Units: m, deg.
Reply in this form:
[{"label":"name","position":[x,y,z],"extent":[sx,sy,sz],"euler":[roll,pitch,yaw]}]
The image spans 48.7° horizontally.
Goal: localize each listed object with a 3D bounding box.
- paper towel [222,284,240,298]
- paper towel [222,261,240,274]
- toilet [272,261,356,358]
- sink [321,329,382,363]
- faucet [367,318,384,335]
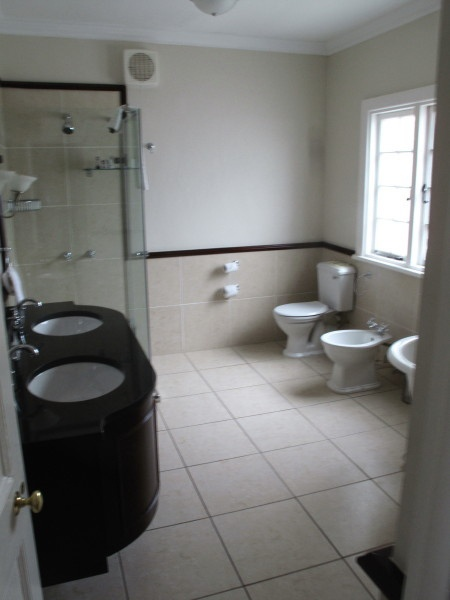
[{"label":"paper towel","position":[0.049,-0.077,4.244],"extent":[0.139,0.117,0.100],"euler":[-7,36,-28]},{"label":"paper towel","position":[0.053,-0.270,4.192],"extent":[0.135,0.107,0.094],"euler":[-3,13,-6]},{"label":"toilet","position":[0.708,0.080,4.148],"extent":[0.671,0.720,0.376],"euler":[-8,16,-20]},{"label":"sink","position":[0.869,0.329,3.472],"extent":[0.410,0.168,0.407],"euler":[-4,13,-12]},{"label":"faucet","position":[1.103,0.196,3.583],"extent":[0.064,0.091,0.176],"euler":[-3,6,-8]}]
